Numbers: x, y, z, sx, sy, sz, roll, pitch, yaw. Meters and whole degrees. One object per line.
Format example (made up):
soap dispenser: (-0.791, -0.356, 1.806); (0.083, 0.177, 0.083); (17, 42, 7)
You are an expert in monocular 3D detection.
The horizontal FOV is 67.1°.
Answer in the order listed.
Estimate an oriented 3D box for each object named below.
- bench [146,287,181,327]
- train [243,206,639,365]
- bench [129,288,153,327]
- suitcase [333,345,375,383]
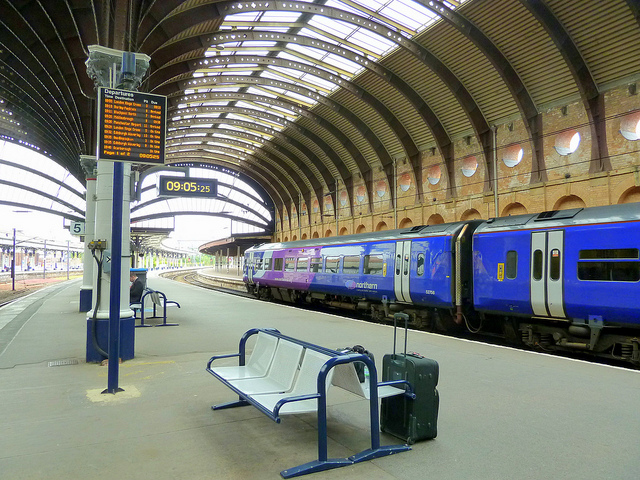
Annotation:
bench: (-5.722, 2.345, 17.411); (0.855, 1.226, 2.324); (-1, -1, -26)
train: (3.448, 1.176, 17.499); (2.132, 4.406, 14.600); (-1, 2, -40)
bench: (-6.071, 2.286, 16.291); (0.519, 0.816, 1.431); (3, -12, -21)
suitcase: (0.537, 1.963, 7.806); (0.558, 0.586, 0.558); (16, -13, -26)
